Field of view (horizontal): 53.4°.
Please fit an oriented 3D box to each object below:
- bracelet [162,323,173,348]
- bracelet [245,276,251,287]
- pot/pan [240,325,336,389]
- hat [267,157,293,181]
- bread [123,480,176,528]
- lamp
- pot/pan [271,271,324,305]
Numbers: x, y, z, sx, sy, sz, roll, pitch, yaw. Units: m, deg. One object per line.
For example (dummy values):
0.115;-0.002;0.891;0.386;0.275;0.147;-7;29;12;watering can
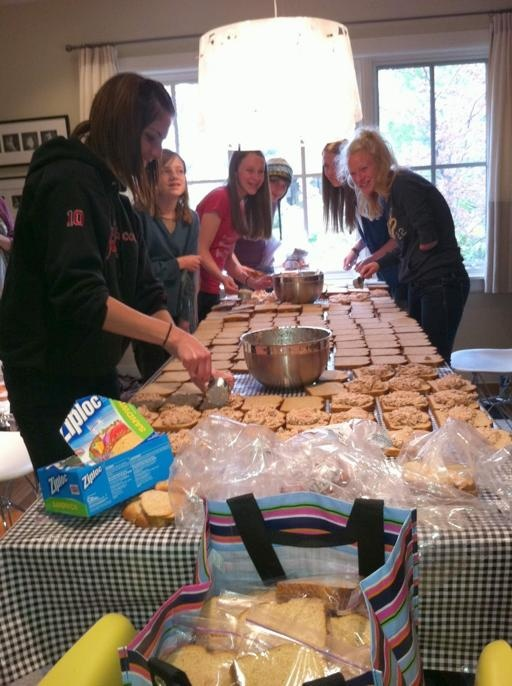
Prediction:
-0.210;-0.017;1.220;0.010;0.046;0.040;18;-17;-1;bracelet
-0.045;-0.379;3.189;0.043;0.048;0.044;0;8;0;bracelet
0.073;0.000;1.420;0.201;0.121;0.198;-9;10;-37;pot/pan
0.156;-1.152;3.349;0.158;0.179;0.226;1;29;0;hat
-0.158;0.248;0.770;0.059;0.015;0.057;-3;24;-9;bread
0.046;-0.569;1.189;0.314;0.361;0.317;-6;25;-5;lamp
0.215;-0.281;2.654;0.188;0.126;0.210;-1;7;-1;pot/pan
